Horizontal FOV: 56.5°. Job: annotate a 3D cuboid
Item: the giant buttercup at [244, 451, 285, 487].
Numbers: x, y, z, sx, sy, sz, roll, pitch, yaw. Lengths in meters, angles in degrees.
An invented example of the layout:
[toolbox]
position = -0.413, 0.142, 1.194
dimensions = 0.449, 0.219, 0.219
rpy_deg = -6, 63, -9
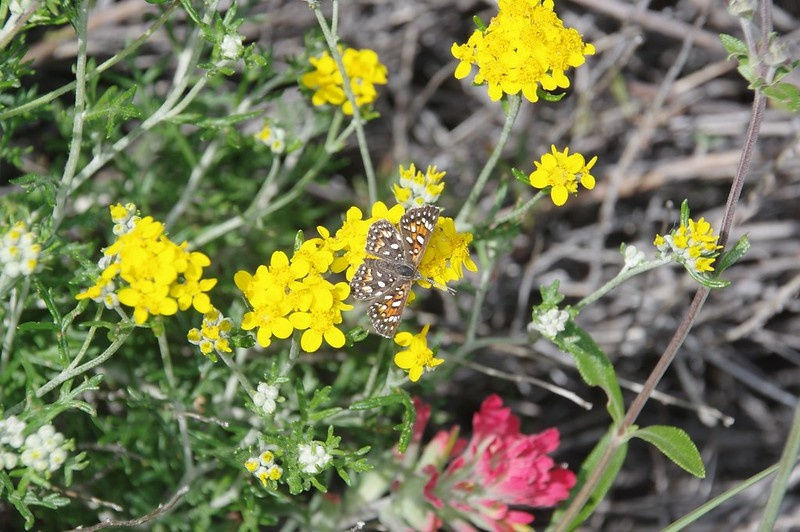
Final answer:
[giant buttercup]
position = -0.716, 1.096, 3.979
dimensions = 0.183, 0.075, 0.213
rpy_deg = -29, 67, -30
